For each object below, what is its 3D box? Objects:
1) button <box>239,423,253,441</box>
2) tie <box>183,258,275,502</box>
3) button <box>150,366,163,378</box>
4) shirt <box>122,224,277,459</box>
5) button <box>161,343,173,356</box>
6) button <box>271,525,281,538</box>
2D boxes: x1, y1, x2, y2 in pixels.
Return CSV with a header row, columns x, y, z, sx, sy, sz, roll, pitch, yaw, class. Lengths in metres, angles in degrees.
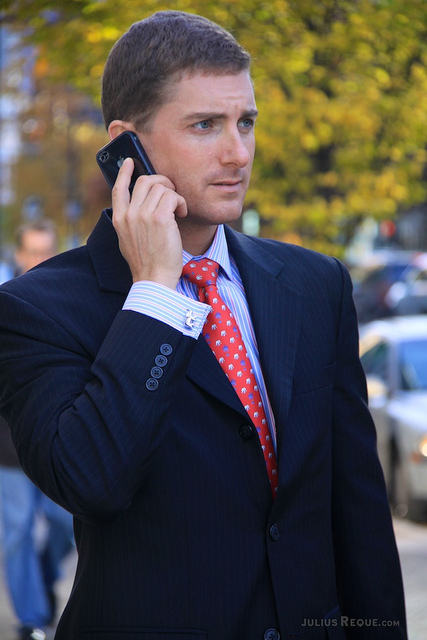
x,y,z,sx,sy,sz,roll,pitch,yaw,class
0.076,0.257,1.855,0.033,0.028,0.029,-7,35,9,button
0.067,0.106,1.966,0.098,0.091,0.935,-8,47,-12,tie
-0.124,0.116,1.781,0.028,0.016,0.022,-32,38,-26,button
-0.043,0.027,2.021,0.307,0.139,0.580,5,50,-24,shirt
-0.104,0.067,1.813,0.022,0.016,0.026,13,42,33,button
0.142,0.482,1.832,0.006,0.025,0.027,-10,17,35,button
